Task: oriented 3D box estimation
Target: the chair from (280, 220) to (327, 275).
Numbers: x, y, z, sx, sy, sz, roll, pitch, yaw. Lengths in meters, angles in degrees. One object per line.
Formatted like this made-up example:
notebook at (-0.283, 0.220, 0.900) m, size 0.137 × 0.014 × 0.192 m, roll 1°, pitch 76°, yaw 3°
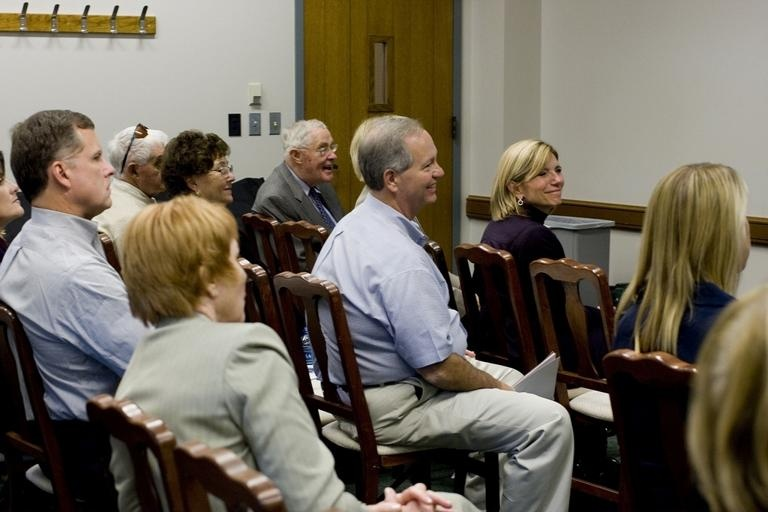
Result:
chair at (-0.373, -0.038, 2.848) m, size 0.167 × 0.346 × 0.199 m, roll 8°, pitch 18°, yaw 30°

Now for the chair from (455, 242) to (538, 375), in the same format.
chair at (0.476, 0.222, 2.543) m, size 0.276 × 0.541 × 0.260 m, roll -26°, pitch 32°, yaw -29°

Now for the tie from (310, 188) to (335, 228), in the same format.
tie at (-0.408, -0.322, 4.122) m, size 0.060 × 0.295 × 0.152 m, roll -25°, pitch -2°, yaw 16°

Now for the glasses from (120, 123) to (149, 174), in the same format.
glasses at (-1.255, -0.536, 3.112) m, size 0.053 × 0.214 × 0.194 m, roll 9°, pitch 19°, yaw -9°
